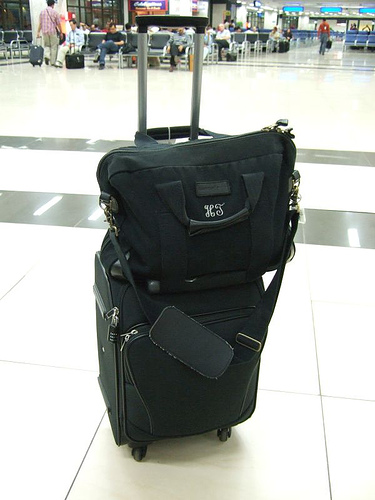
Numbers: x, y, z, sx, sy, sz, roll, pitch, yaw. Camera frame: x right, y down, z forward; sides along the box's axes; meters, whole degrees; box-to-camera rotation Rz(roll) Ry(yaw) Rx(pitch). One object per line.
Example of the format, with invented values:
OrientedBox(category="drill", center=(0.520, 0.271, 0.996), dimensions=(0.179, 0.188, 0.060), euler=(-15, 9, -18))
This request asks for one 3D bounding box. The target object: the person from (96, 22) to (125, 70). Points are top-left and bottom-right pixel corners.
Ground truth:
OrientedBox(category="person", center=(-2.305, -5.964, 12.805), dimensions=(0.644, 1.323, 0.768), euler=(16, 18, 36))

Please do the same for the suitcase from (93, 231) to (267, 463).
OrientedBox(category="suitcase", center=(-0.044, 0.238, 0.925), dimensions=(0.385, 0.486, 0.308), euler=(7, 27, 11))

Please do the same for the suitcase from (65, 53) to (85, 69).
OrientedBox(category="suitcase", center=(-3.221, -5.333, 12.365), dimensions=(0.583, 0.429, 0.368), euler=(-30, 55, -36))

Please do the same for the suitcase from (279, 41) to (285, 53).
OrientedBox(category="suitcase", center=(4.664, -10.064, 21.776), dimensions=(0.230, 0.388, 0.214), euler=(3, 37, 4))

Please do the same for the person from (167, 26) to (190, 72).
OrientedBox(category="person", center=(-0.281, -5.528, 12.114), dimensions=(0.646, 1.076, 1.227), euler=(7, 26, 11))
